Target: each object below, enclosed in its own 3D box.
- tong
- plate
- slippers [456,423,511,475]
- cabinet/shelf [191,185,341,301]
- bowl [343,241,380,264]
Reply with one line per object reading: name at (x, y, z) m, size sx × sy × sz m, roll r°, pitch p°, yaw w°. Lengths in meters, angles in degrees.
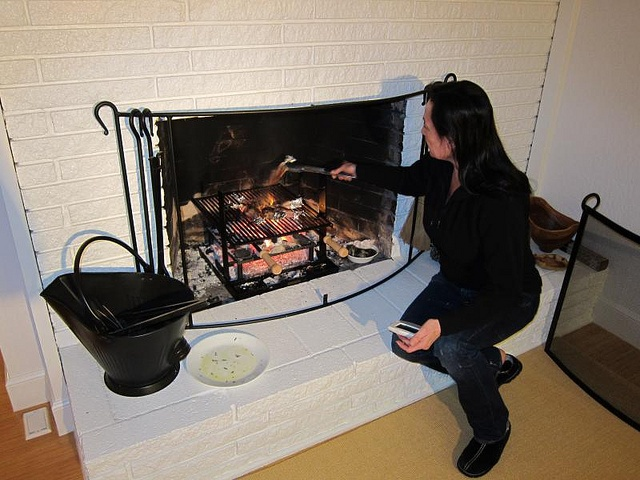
tong at (-0.625, 0.282, 1.692) m, size 0.423 × 0.049 × 0.069 m, roll -16°, pitch -12°, yaw 14°
plate at (-0.367, 0.463, 1.779) m, size 0.326 × 0.044 × 0.264 m, roll 3°, pitch 31°, yaw 6°
slippers at (0.662, 0.840, 1.814) m, size 0.094 × 0.086 × 0.235 m, roll 31°, pitch 58°, yaw 34°
cabinet/shelf at (-0.259, -0.082, 2.146) m, size 0.535 × 0.417 × 0.588 m, roll -18°, pitch 43°, yaw -25°
bowl at (0.239, 0.062, 2.442) m, size 0.135 × 0.040 × 0.134 m, roll 1°, pitch 31°, yaw -1°
